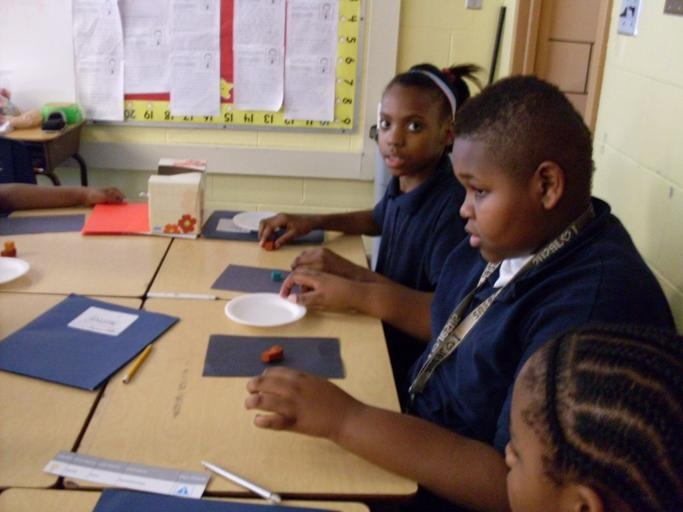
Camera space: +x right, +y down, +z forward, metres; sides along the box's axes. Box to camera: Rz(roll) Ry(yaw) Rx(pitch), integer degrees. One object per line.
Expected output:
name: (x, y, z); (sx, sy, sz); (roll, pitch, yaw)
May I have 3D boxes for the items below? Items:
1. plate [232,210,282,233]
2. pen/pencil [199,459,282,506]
plate: (-0.341, -0.138, 2.159); (0.108, 0.012, 0.110); (19, 31, 37)
pen/pencil: (-0.175, 0.392, 0.964); (0.099, 0.017, 0.017); (20, 12, 11)
